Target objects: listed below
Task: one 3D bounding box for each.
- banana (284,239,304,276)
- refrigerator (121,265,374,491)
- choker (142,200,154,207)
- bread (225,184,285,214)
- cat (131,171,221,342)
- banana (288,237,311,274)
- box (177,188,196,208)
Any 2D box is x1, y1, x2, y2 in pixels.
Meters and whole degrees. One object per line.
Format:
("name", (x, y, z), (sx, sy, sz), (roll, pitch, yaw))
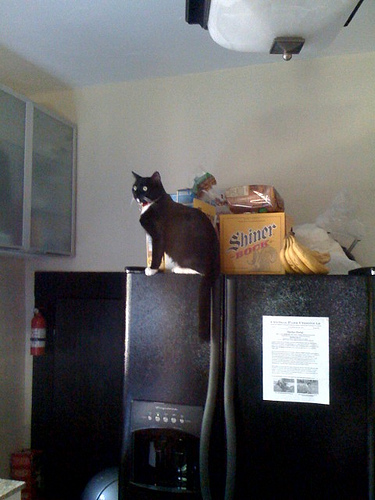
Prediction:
("banana", (0.328, 0.030, 1.360), (0.044, 0.137, 0.027), (-12, -11, -6))
("refrigerator", (0.197, 0.391, 1.274), (0.650, 0.660, 0.220), (-1, -9, 14))
("choker", (-0.136, -0.158, 1.490), (0.011, 0.016, 0.049), (3, -15, -39))
("bread", (0.250, -0.191, 1.614), (0.175, 0.112, 0.171), (3, 7, 22))
("cat", (-0.025, -0.050, 1.485), (0.347, 0.398, 0.121), (19, 32, 13))
("banana", (0.327, 0.016, 1.327), (0.043, 0.129, 0.029), (-37, -6, 7))
("box", (0.002, -0.170, 1.504), (0.055, 0.078, 0.078), (0, -1, 19))
